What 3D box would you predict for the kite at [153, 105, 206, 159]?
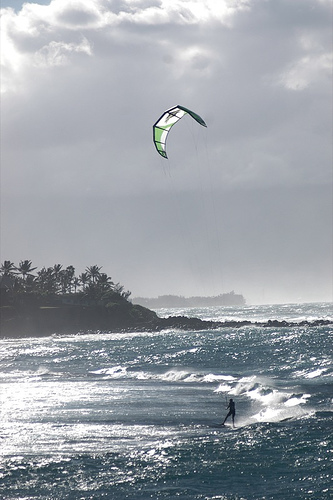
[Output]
[{"bbox_3d":[0.299,-4.367,30.890,1.534,1.651,3.099,0,-1,-2],"label":"kite"}]
